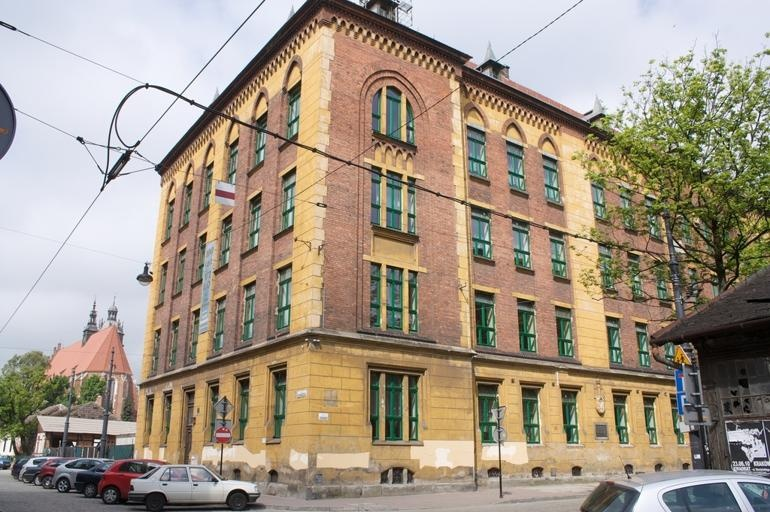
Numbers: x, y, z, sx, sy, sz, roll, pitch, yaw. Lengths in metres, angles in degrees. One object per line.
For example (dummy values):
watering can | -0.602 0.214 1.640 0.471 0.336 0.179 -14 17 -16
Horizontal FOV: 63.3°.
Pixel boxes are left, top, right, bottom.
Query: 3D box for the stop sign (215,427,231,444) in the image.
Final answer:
stop sign | -7.142 7.808 27.327 0.690 0.690 0.437 15 -29 -31
